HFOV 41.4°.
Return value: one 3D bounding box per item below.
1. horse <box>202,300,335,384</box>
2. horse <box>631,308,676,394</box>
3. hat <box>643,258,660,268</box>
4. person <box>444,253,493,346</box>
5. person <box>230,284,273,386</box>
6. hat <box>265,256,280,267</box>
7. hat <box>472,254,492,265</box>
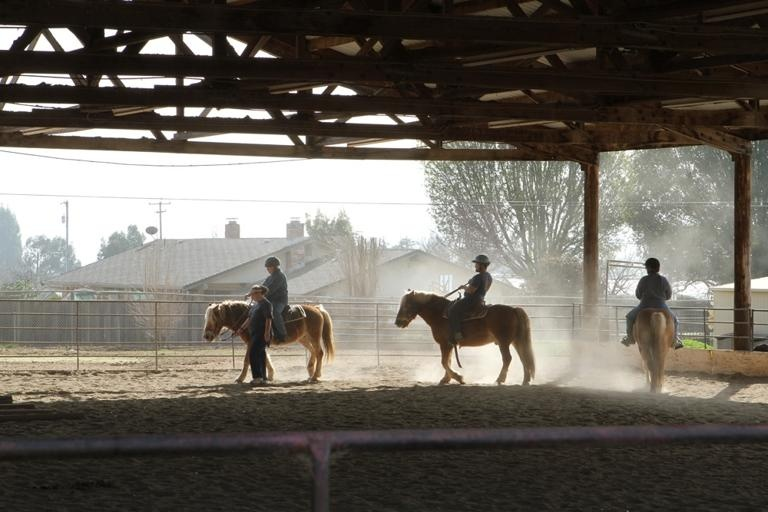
[{"bbox_3d":[-2.622,1.967,23.417,3.312,1.777,0.786,2,-14,-31],"label":"horse"},{"bbox_3d":[5.906,2.051,22.201,0.748,1.755,0.523,-2,-1,31],"label":"horse"},{"bbox_3d":[6.010,0.146,22.652,0.290,0.170,0.360,9,29,2],"label":"hat"},{"bbox_3d":[1.985,0.996,22.942,1.024,1.816,1.033,-2,0,-3],"label":"person"},{"bbox_3d":[-2.785,1.731,22.778,0.469,1.783,0.718,-2,-1,-25],"label":"person"},{"bbox_3d":[-2.515,0.126,22.894,0.354,0.250,0.254,9,9,16],"label":"hat"},{"bbox_3d":[2.213,0.067,22.735,0.315,0.134,0.219,13,-2,8],"label":"hat"}]
